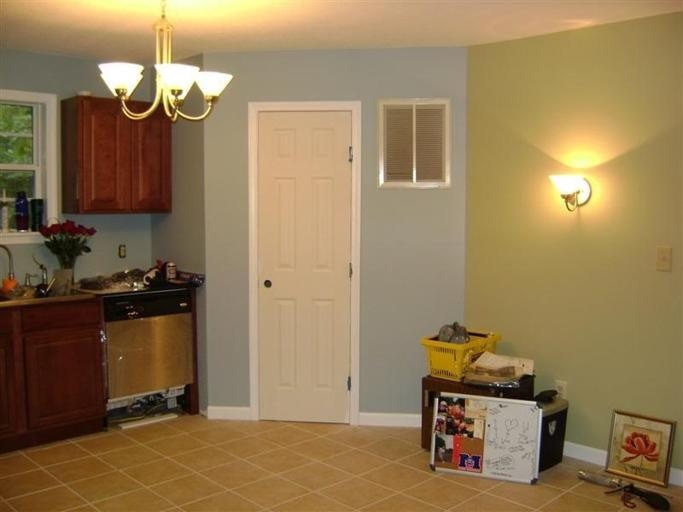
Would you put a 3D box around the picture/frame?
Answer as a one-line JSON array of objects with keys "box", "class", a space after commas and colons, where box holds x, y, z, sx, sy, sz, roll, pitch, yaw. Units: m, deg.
[{"box": [2.061, 1.325, 3.858, 0.482, 0.556, 0.058, 5, -5, 38], "class": "picture/frame"}]

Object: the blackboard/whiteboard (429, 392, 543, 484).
[{"box": [0.999, 1.246, 3.920, 0.702, 0.514, 0.189, 3, 9, 20], "class": "blackboard/whiteboard"}]

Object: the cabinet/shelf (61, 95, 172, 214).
[{"box": [-1.966, -0.862, 4.843, 1.060, 1.155, 0.407, -2, 3, -30], "class": "cabinet/shelf"}]

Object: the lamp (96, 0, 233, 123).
[{"box": [-1.161, -1.212, 3.573, 0.650, 0.838, 1.545, -3, 8, -21], "class": "lamp"}]

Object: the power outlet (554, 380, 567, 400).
[{"box": [1.655, 0.996, 4.251, 0.068, 0.131, 0.075, -1, 8, -4], "class": "power outlet"}]

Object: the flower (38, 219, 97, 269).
[{"box": [-2.343, -0.109, 4.901, 0.450, 0.462, 0.419, 0, 1, -31], "class": "flower"}]

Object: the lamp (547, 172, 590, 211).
[{"box": [1.670, -0.453, 4.107, 0.269, 0.274, 0.198, 4, 9, 26], "class": "lamp"}]

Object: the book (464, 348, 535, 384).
[{"box": [1.130, 0.819, 4.082, 0.266, 0.095, 0.269, 2, 11, 28], "class": "book"}]

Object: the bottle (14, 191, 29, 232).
[{"box": [-2.752, -0.383, 4.882, 0.114, 0.334, 0.154, -4, 9, -24], "class": "bottle"}]
